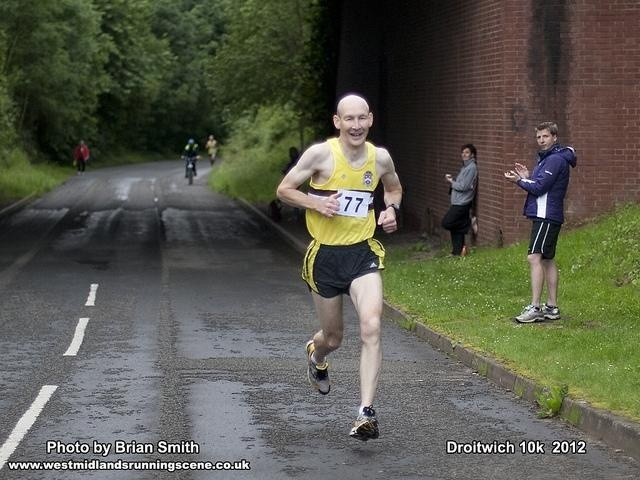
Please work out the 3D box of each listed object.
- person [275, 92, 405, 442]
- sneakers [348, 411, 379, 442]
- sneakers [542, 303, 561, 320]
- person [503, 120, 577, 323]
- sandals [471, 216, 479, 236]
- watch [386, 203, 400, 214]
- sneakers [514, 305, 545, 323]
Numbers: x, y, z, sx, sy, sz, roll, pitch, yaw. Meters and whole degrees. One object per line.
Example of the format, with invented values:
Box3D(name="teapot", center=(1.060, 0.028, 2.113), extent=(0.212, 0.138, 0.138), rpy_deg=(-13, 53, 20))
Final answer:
Box3D(name="person", center=(0.243, 0.233, 5.389), extent=(0.876, 2.677, 1.295), rpy_deg=(-5, 13, -26))
Box3D(name="sneakers", center=(0.307, 1.364, 5.106), extent=(0.143, 0.192, 0.389), rpy_deg=(8, -31, -19))
Box3D(name="sneakers", center=(3.129, 0.986, 9.268), extent=(0.319, 0.141, 0.130), rpy_deg=(7, 6, 18))
Box3D(name="person", center=(2.929, -0.182, 9.110), extent=(0.891, 2.683, 0.523), rpy_deg=(-8, 14, -36))
Box3D(name="sandals", center=(3.577, -0.340, 15.768), extent=(0.136, 0.431, 0.178), rpy_deg=(2, 17, 24))
Box3D(name="watch", center=(0.593, -0.264, 5.547), extent=(0.083, 0.039, 0.068), rpy_deg=(30, -7, 33))
Box3D(name="sneakers", center=(2.841, 1.002, 9.201), extent=(0.496, 0.232, 0.176), rpy_deg=(-2, 4, -10))
